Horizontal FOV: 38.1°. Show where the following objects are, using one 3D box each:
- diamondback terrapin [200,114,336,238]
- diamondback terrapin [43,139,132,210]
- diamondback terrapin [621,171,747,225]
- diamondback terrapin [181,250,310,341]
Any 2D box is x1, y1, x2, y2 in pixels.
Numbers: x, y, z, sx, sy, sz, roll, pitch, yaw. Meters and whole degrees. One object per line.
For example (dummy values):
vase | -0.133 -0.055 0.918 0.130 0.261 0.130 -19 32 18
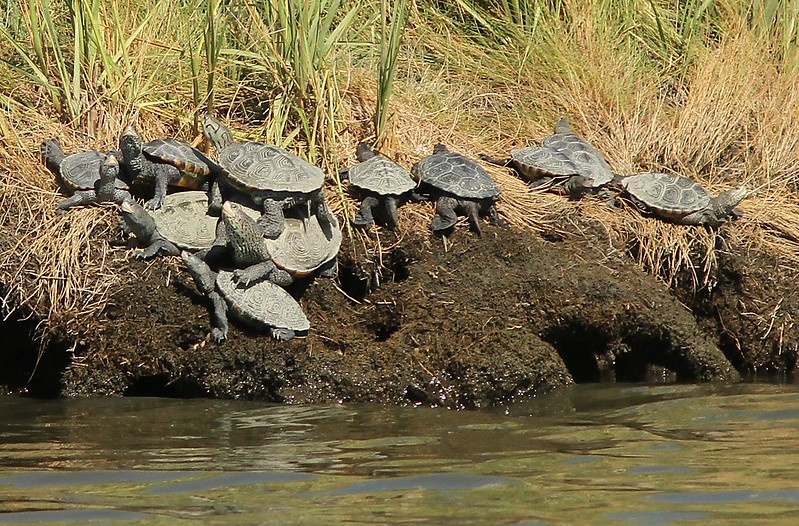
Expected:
diamondback terrapin | -1.230 -0.825 10.838 1.734 0.543 1.196 22 27 32
diamondback terrapin | -2.759 -0.817 10.718 0.820 0.378 1.120 4 16 -21
diamondback terrapin | 2.614 -0.638 11.053 0.965 0.254 0.552 12 23 11
diamondback terrapin | -1.385 0.351 10.154 1.178 0.346 0.698 18 34 -16
